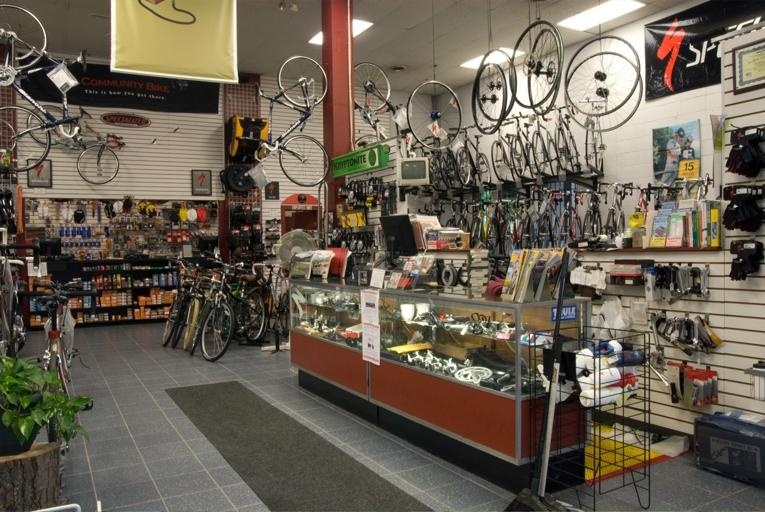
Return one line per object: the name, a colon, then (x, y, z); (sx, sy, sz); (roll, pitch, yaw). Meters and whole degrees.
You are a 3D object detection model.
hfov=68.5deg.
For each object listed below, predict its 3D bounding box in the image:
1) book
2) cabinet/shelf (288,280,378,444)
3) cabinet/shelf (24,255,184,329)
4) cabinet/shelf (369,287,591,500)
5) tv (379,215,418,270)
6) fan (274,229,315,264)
book: (3.133, -0.335, 6.065); (0.332, 0.544, 0.907); (-6, 9, -38)
cabinet/shelf: (-0.452, 1.070, 7.109); (0.630, 1.598, 1.796); (-4, 7, -43)
cabinet/shelf: (-5.964, 0.716, 12.054); (2.691, 1.391, 0.452); (-2, 9, -22)
cabinet/shelf: (0.845, 1.225, 5.773); (0.819, 1.691, 2.086); (4, -1, -34)
tv: (0.193, -0.162, 6.718); (0.362, 0.761, 0.634); (-8, 9, -41)
fan: (-1.321, -0.122, 8.485); (0.553, 0.511, 0.301); (-2, 7, -14)
